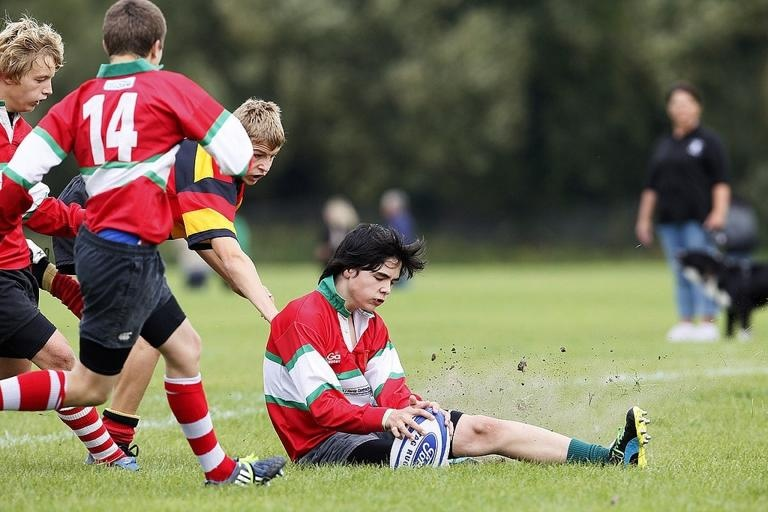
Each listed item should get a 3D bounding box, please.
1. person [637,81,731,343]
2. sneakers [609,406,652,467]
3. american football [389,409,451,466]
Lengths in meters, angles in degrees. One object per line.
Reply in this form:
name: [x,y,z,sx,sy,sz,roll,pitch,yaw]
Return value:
person: [3.389,-0.467,12.120,1.023,2.859,0.873,4,4,30]
sneakers: [1.753,1.266,7.576,0.231,0.564,0.182,9,19,15]
american football: [0.267,1.369,7.617,0.215,0.417,0.325,16,19,2]
